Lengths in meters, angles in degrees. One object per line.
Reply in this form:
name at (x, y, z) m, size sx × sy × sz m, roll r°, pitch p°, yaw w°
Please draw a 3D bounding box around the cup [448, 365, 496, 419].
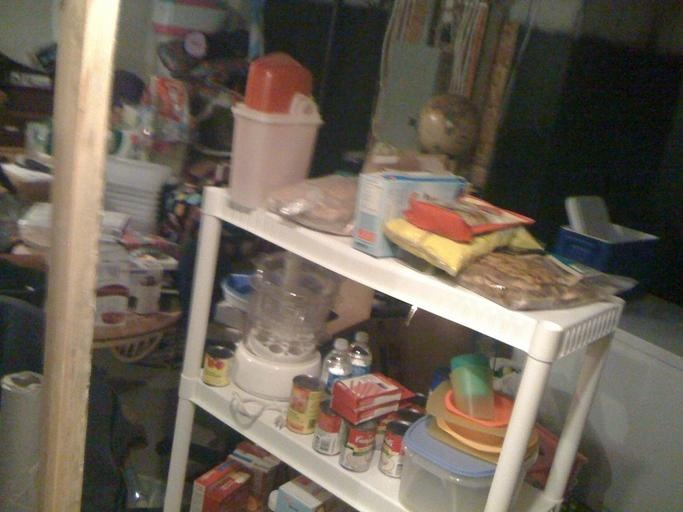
cup at (0.253, 0.258, 1.095) m, size 0.096 × 0.096 × 0.088 m, roll -1°, pitch -2°, yaw 0°
